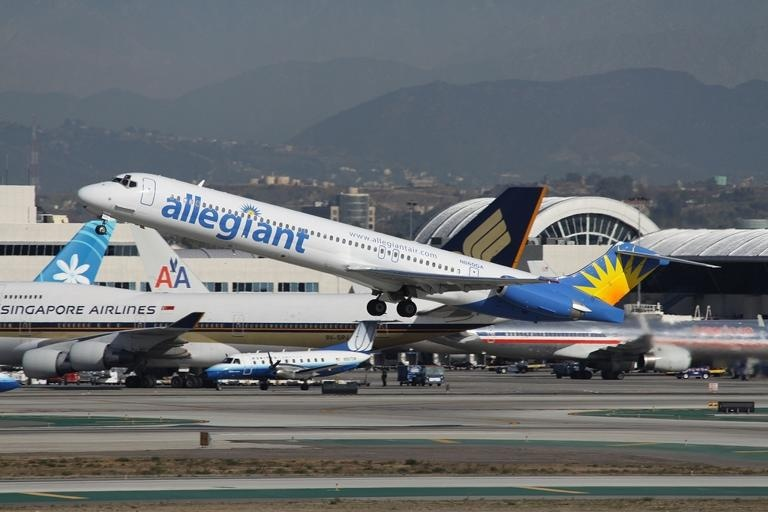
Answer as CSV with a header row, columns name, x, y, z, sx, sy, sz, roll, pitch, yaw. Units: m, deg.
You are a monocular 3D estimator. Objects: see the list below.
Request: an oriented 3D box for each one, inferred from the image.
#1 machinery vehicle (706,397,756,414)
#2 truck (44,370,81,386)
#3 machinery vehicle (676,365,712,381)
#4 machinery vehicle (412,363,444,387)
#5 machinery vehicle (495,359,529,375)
name,x,y,z,sx,sy,sz,roll,pitch,yaw
machinery vehicle,27.243,11.887,130.739,3.390,0.904,4.629,0,-4,10
truck,-27.434,10.799,145.218,3.435,1.161,1.689,-2,0,18
machinery vehicle,29.088,10.954,156.046,3.554,1.160,1.308,1,-7,-1
machinery vehicle,3.588,10.613,145.459,1.716,1.042,2.495,2,-8,-20
machinery vehicle,12.469,11.024,162.857,2.589,0.808,1.307,-1,4,-4
